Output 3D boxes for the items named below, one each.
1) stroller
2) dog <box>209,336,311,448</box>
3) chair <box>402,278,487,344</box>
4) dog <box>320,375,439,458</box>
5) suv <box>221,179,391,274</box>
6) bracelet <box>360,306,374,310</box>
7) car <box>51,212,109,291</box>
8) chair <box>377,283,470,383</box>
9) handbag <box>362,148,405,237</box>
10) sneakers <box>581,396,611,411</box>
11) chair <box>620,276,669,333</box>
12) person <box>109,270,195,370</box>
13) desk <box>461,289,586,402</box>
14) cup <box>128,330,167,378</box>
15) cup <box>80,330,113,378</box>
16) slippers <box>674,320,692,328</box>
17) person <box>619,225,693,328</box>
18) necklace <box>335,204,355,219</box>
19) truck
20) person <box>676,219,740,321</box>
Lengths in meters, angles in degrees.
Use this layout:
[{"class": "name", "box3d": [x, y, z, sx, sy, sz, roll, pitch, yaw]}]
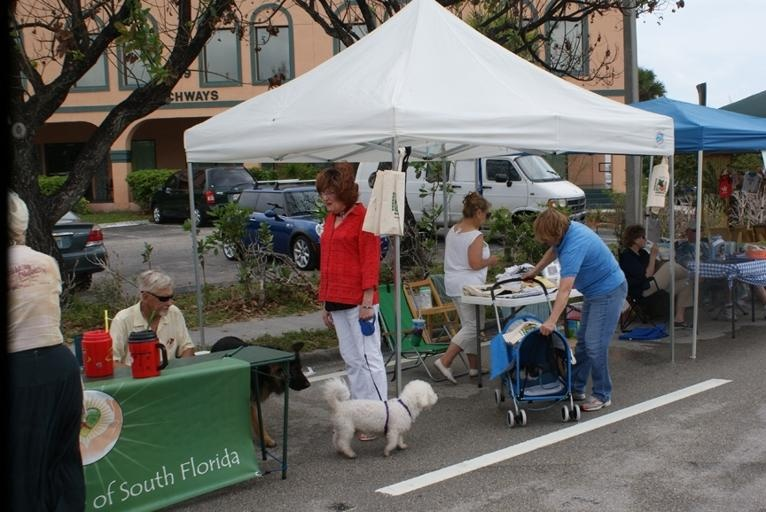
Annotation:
[{"class": "stroller", "box3d": [1.702, 1.006, 8.627, 1.171, 1.620, 1.270, -2, -2, -43]}, {"class": "dog", "box3d": [-1.529, 1.318, 7.779, 1.365, 0.964, 0.402, 8, -12, 15]}, {"class": "chair", "box3d": [0.810, 0.894, 10.894, 0.872, 1.141, 0.908, -15, -2, 5]}, {"class": "dog", "box3d": [-0.088, 1.605, 7.646, 1.411, 1.068, 0.578, -1, 4, -12]}, {"class": "suv", "box3d": [-2.397, -0.795, 17.820, 2.110, 1.864, 3.270, -3, 3, -38]}, {"class": "bracelet", "box3d": [-0.161, 0.535, 7.877, 0.117, 0.036, 0.069, -1, 13, -1]}, {"class": "car", "box3d": [-5.469, -0.111, 13.645, 0.778, 0.774, 1.708, -7, 17, -33]}, {"class": "chair", "box3d": [0.413, 1.016, 10.487, 0.966, 1.344, 1.313, -3, 5, -38]}, {"class": "handbag", "box3d": [0.039, -0.559, 7.938, 0.371, 0.644, 0.510, 3, 13, 20]}, {"class": "sneakers", "box3d": [2.466, 1.720, 8.808, 0.346, 0.183, 0.147, -3, 7, -10]}, {"class": "chair", "box3d": [4.266, 0.772, 12.115, 0.839, 1.150, 0.781, 0, 7, 15]}, {"class": "person", "box3d": [-2.358, 0.660, 7.634, 0.939, 0.973, 0.436, -1, 8, -41]}, {"class": "desk", "box3d": [1.669, 0.904, 9.759, 1.346, 1.358, 1.304, -9, 11, -42]}, {"class": "cup", "box3d": [-2.101, 0.890, 6.746, 0.415, 0.482, 0.286, 0, 1, -16]}, {"class": "cup", "box3d": [-2.604, 0.900, 6.910, 0.342, 0.407, 0.353, -1, 5, 0]}, {"class": "slippers", "box3d": [4.761, 1.077, 11.991, 0.270, 0.124, 0.103, -3, 13, -14]}, {"class": "person", "box3d": [4.308, 0.279, 11.807, 0.931, 1.758, 0.722, -14, -2, 26]}, {"class": "necklace", "box3d": [-0.402, -0.477, 8.055, 0.166, 0.067, 0.125, -34, 2, -23]}, {"class": "truck", "box3d": [2.071, -1.784, 19.232, 4.912, 2.201, 2.604, 1, 4, 26]}, {"class": "person", "box3d": [5.110, 0.386, 11.746, 0.827, 1.165, 0.873, 0, 9, 40]}]
